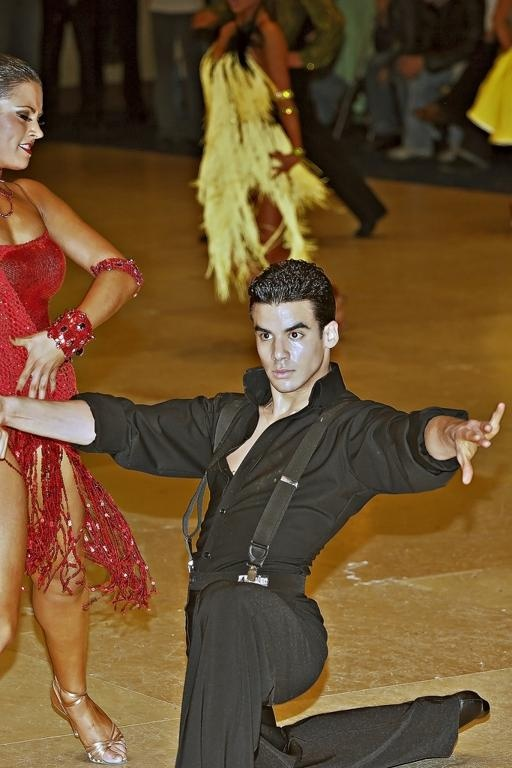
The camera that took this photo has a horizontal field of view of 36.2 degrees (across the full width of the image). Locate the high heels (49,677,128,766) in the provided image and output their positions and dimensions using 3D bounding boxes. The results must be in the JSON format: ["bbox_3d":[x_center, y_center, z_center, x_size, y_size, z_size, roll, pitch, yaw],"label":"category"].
[{"bbox_3d":[-0.413,0.776,1.886,0.277,0.106,0.104,42,61,19],"label":"high heels"}]
